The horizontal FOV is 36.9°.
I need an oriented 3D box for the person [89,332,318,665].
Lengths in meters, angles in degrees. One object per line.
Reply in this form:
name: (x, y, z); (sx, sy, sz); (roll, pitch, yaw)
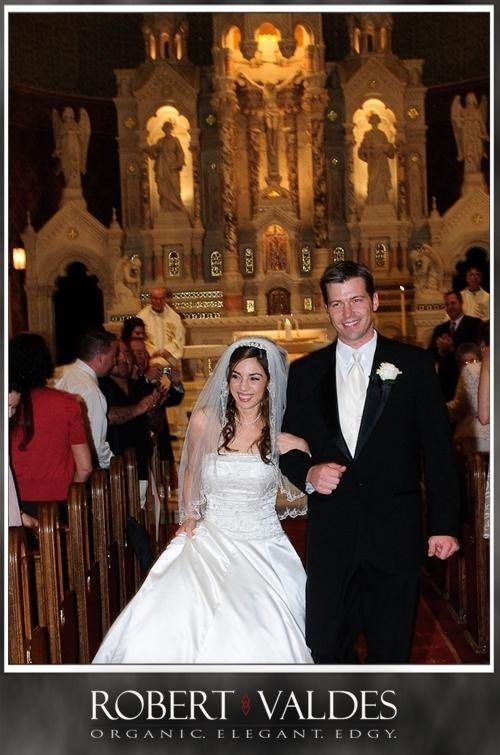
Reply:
person: (-0.179, 0.593, 3.192); (0.917, 1.422, 0.895); (5, -2, -30)

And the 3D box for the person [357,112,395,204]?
person: (2.260, -3.832, 13.262); (0.647, 1.592, 0.457); (-1, 12, 11)

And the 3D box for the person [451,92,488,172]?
person: (3.923, -4.270, 13.274); (0.616, 1.346, 0.540); (-2, 12, 6)

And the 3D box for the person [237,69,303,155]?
person: (0.378, -4.584, 13.009); (1.105, 1.351, 0.369); (-3, 12, 1)

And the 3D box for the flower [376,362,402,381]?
flower: (0.471, -0.015, 2.521); (0.087, 0.059, 0.063); (-2, 11, 8)

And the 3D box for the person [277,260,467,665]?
person: (0.413, 0.467, 2.599); (0.600, 1.680, 0.545); (-2, 6, 16)

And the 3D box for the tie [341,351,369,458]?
tie: (0.371, 0.092, 2.618); (0.110, 0.460, 0.016); (-1, -34, 14)

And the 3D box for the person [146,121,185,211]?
person: (-1.470, -3.749, 13.428); (0.661, 1.570, 0.383); (-6, 12, -10)
